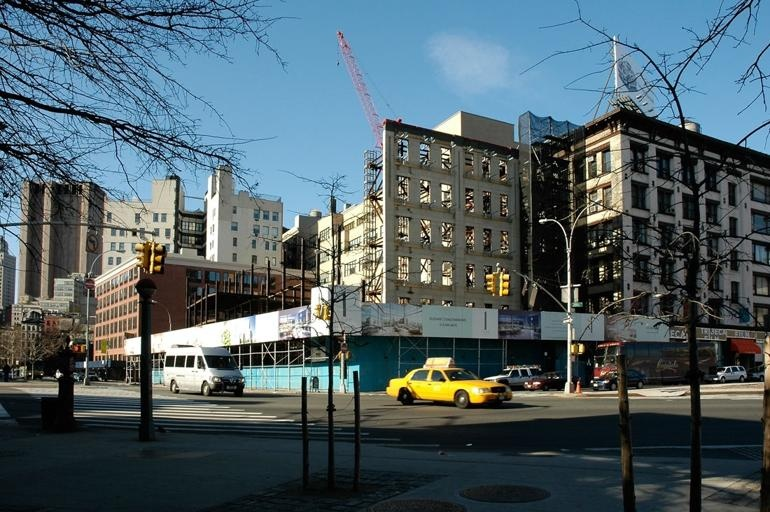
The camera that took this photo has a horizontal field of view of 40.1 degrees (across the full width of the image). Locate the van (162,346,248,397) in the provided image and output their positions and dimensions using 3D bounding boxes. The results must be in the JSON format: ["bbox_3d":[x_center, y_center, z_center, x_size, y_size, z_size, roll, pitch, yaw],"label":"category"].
[{"bbox_3d":[-10.185,6.419,59.308,2.603,2.518,6.586,5,-7,-38],"label":"van"}]

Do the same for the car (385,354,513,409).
[{"bbox_3d":[2.941,5.846,48.819,6.168,2.131,2.482,-4,-6,45],"label":"car"}]

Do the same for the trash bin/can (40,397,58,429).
[{"bbox_3d":[-11.726,5.543,36.988,0.499,1.146,0.907,5,-12,-25],"label":"trash bin/can"}]

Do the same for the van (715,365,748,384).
[{"bbox_3d":[25.391,8.725,77.499,3.016,1.037,1.410,8,-14,-34],"label":"van"}]

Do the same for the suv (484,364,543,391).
[{"bbox_3d":[8.621,7.653,67.463,3.195,1.345,1.697,10,-17,-31],"label":"suv"}]
